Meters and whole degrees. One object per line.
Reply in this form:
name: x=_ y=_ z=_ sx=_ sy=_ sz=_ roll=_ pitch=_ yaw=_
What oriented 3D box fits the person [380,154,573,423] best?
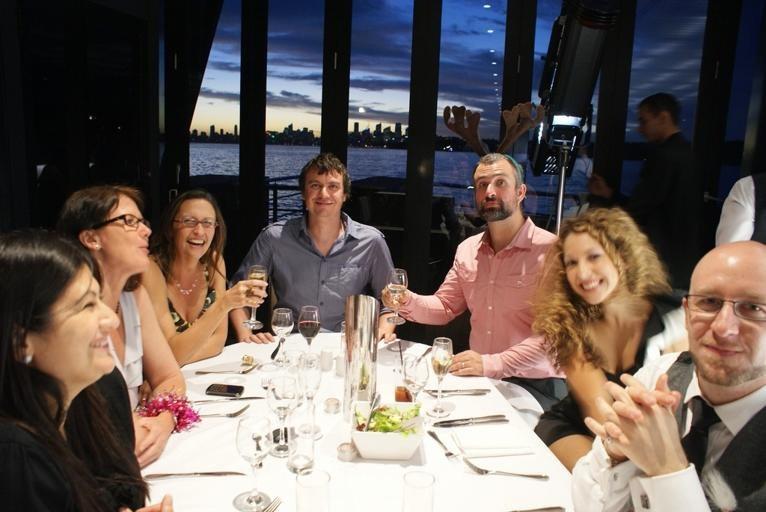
person: x=0.633 y=0.187 z=3.455 sx=0.862 sy=1.586 sz=1.072 roll=-6 pitch=6 yaw=-41

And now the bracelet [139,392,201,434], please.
bracelet: x=-0.885 y=0.660 z=2.330 sx=0.171 sy=0.102 sz=0.188 roll=25 pitch=6 yaw=21

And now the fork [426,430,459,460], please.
fork: x=0.250 y=0.766 z=2.271 sx=0.039 sy=0.027 sz=0.223 roll=-3 pitch=15 yaw=-17

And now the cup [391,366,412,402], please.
cup: x=0.095 y=0.583 z=2.492 sx=0.090 sy=0.153 sz=0.093 roll=1 pitch=2 yaw=0

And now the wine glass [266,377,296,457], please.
wine glass: x=-0.397 y=0.624 z=2.247 sx=0.111 sy=0.330 sz=0.253 roll=-1 pitch=8 yaw=-9

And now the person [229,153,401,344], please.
person: x=-0.426 y=0.001 z=3.738 sx=1.133 sy=1.365 sz=0.758 roll=0 pitch=20 yaw=-8

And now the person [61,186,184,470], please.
person: x=-1.272 y=0.388 z=2.650 sx=0.549 sy=1.435 sz=0.538 roll=-4 pitch=8 yaw=-37

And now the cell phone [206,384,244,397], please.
cell phone: x=-0.726 y=0.622 z=2.554 sx=0.123 sy=0.018 sz=0.069 roll=3 pitch=11 yaw=2
